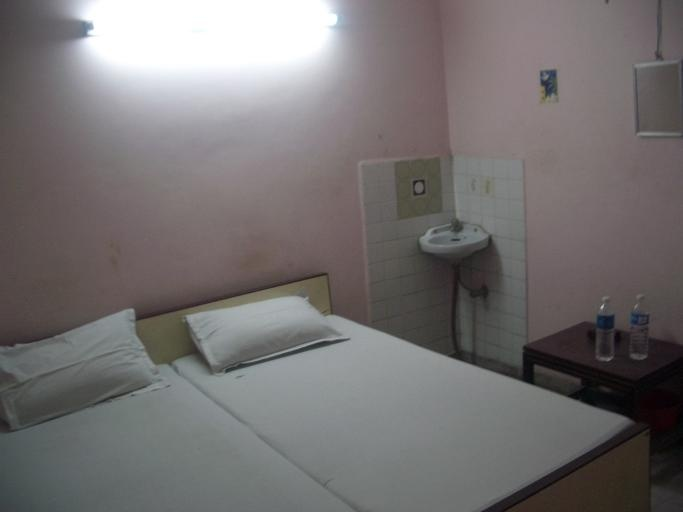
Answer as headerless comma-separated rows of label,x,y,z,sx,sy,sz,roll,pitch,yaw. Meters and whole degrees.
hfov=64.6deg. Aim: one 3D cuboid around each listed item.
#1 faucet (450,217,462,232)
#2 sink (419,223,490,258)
faucet,0.929,-0.250,4.296,0.069,0.112,0.106,-10,12,30
sink,0.859,-0.100,4.175,0.463,0.228,0.437,-12,14,-28
